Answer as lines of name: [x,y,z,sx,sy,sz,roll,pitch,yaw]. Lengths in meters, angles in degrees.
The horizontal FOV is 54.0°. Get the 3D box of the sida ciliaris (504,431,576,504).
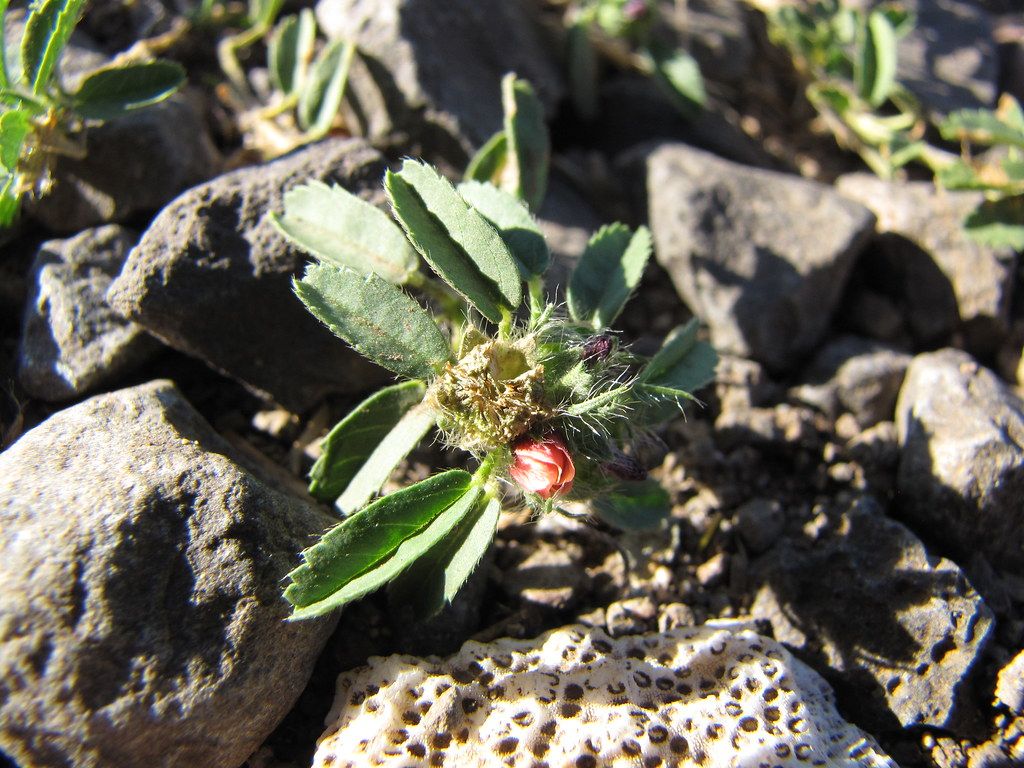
sida ciliaris: [0.079,0.238,2.871,0.134,0.190,0.125,4,66,19]
